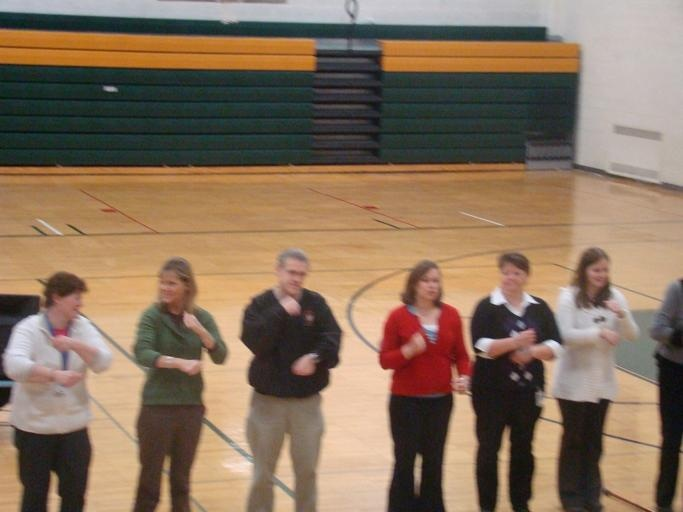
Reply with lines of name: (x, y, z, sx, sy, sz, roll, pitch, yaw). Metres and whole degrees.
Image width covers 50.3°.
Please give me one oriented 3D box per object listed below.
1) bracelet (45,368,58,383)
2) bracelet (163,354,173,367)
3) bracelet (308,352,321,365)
bracelet: (-1.410, 0.577, 3.522, 0.056, 0.049, 0.020, -2, -3, 0)
bracelet: (-0.899, 0.547, 3.747, 0.047, 0.061, 0.050, 2, 2, -14)
bracelet: (-0.147, 0.539, 3.823, 0.054, 0.040, 0.058, 4, -19, 12)
